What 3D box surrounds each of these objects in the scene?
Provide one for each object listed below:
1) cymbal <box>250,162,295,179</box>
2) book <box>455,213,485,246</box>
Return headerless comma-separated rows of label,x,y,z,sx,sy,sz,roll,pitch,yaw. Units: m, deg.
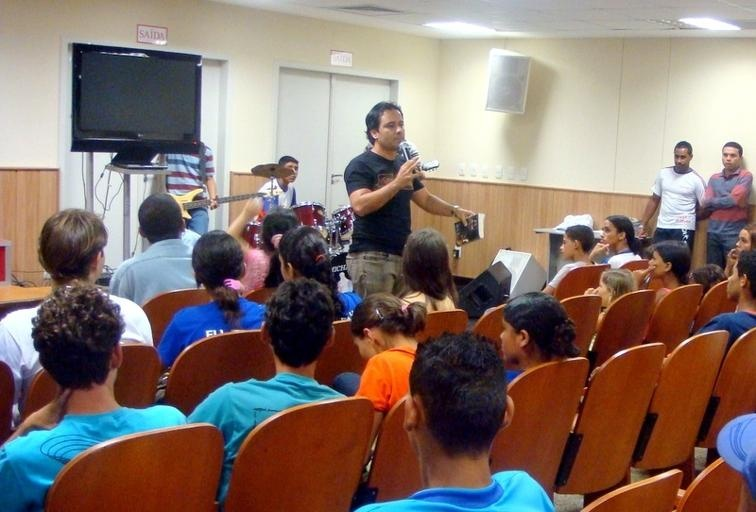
cymbal,-1.159,-0.979,7.031,0.360,0.163,0.528,10,11,31
book,0.618,-0.173,4.274,0.206,0.052,0.211,-30,6,-20
